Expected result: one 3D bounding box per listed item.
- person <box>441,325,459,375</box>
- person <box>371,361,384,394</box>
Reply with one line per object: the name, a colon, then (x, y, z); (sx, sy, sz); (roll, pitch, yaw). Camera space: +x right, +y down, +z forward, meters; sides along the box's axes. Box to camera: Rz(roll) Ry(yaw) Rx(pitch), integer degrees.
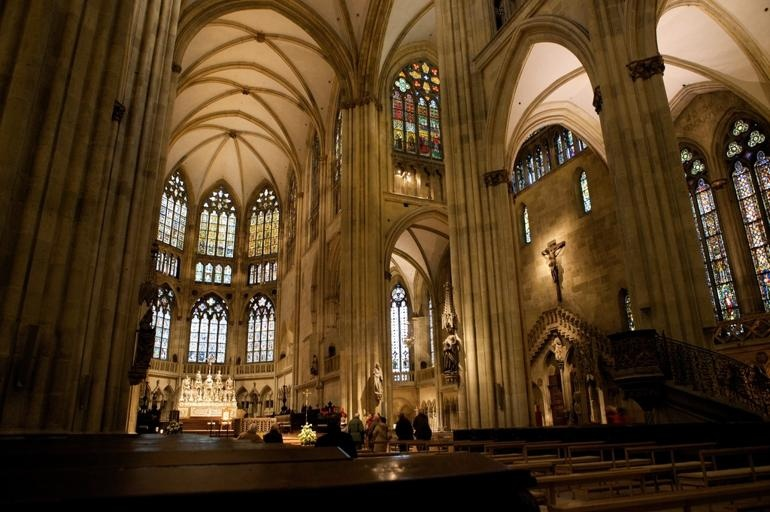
person: (1.884, 2.665, 15.943); (0.255, 1.414, 0.666); (14, -24, -37)
person: (-0.239, 4.613, 20.938); (0.245, 1.245, 0.537); (-18, -25, 40)
